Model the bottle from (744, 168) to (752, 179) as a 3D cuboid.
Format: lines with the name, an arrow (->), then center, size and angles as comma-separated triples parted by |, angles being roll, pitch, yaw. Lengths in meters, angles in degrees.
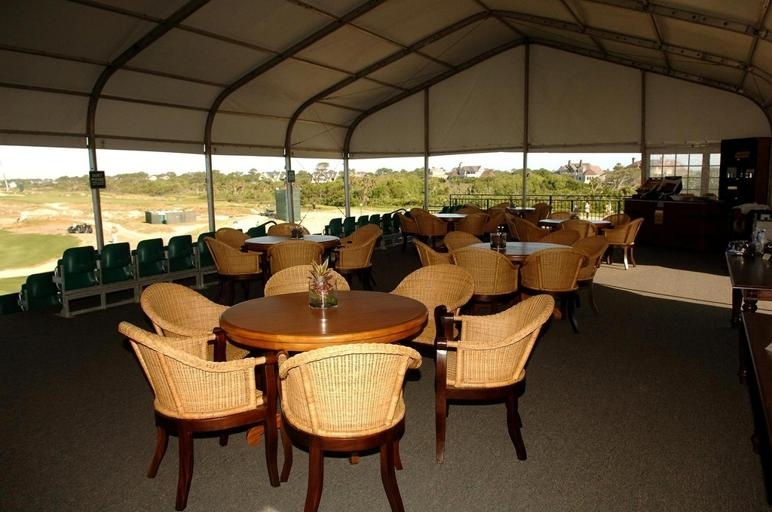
bottle -> 8.290, -1.880, 11.182 | 0.134, 0.189, 0.048 | 7, 13, 41
